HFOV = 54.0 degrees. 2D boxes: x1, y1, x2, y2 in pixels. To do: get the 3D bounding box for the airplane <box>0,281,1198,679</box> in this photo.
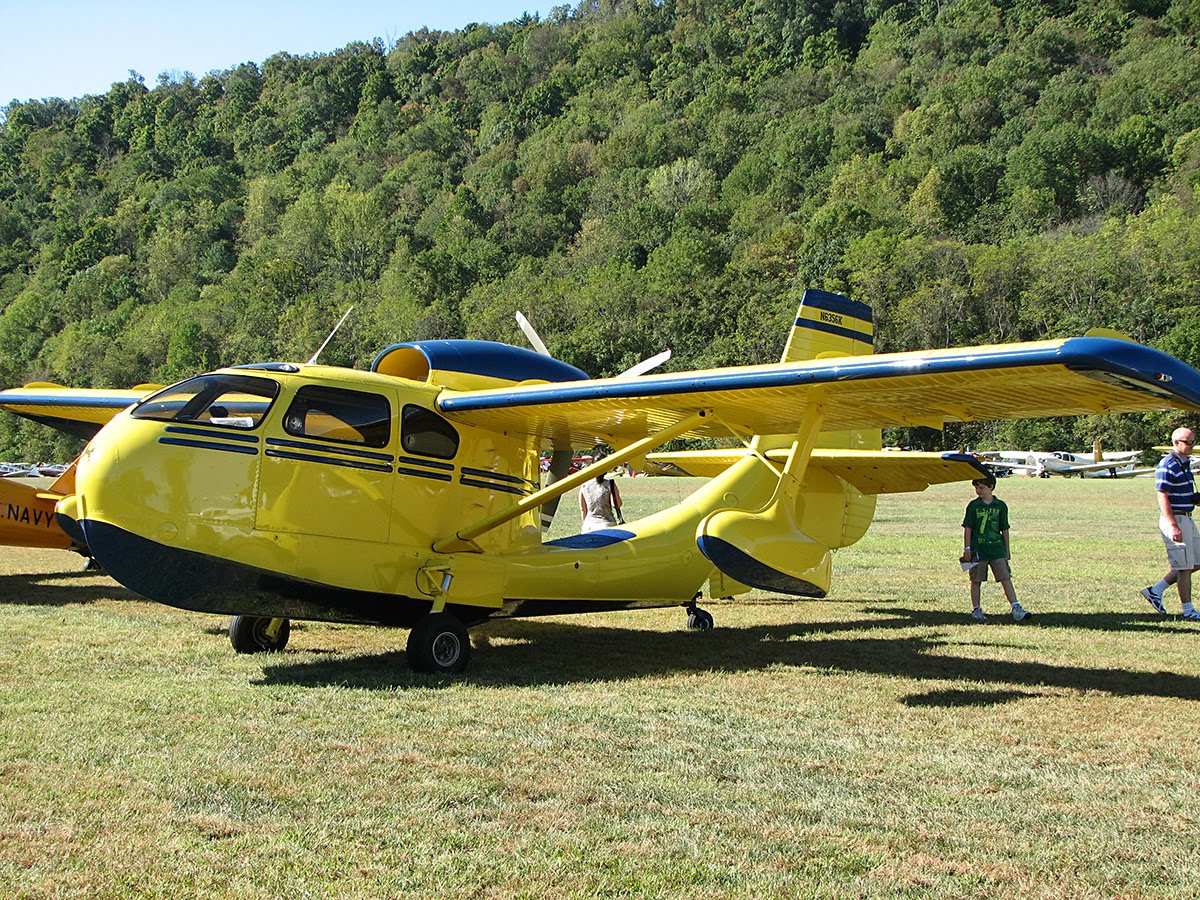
[{"bbox_3d":[-0.327,0.128,11.523,8.901,3.917,5.767,1,3,-2],"label":"airplane"}]
